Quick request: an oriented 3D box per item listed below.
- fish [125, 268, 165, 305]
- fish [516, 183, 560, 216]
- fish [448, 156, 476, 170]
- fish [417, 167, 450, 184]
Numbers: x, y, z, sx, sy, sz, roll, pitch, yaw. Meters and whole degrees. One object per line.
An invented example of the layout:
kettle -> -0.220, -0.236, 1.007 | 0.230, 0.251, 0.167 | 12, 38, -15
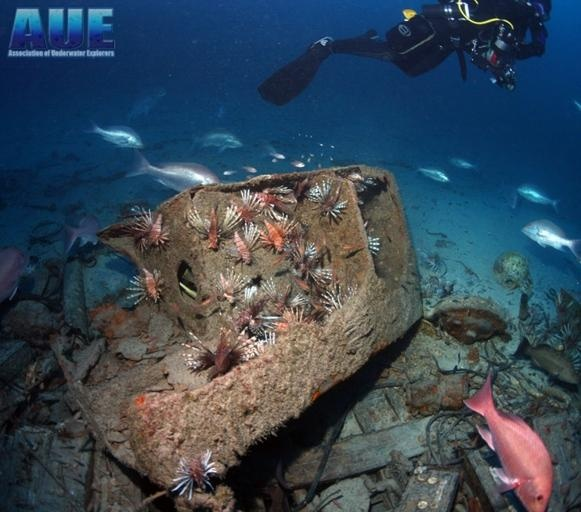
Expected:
fish -> -2.280, 0.453, 7.352 | 0.328, 0.629, 0.699 | 19, -18, -40
fish -> 5.107, -1.220, 9.797 | 0.832, 0.413, 0.606 | 28, 32, 21
fish -> 3.938, -2.134, 10.849 | 0.711, 0.199, 0.349 | 5, 31, -17
fish -> 3.098, -1.778, 10.390 | 0.595, 0.236, 0.099 | 19, 39, 8
